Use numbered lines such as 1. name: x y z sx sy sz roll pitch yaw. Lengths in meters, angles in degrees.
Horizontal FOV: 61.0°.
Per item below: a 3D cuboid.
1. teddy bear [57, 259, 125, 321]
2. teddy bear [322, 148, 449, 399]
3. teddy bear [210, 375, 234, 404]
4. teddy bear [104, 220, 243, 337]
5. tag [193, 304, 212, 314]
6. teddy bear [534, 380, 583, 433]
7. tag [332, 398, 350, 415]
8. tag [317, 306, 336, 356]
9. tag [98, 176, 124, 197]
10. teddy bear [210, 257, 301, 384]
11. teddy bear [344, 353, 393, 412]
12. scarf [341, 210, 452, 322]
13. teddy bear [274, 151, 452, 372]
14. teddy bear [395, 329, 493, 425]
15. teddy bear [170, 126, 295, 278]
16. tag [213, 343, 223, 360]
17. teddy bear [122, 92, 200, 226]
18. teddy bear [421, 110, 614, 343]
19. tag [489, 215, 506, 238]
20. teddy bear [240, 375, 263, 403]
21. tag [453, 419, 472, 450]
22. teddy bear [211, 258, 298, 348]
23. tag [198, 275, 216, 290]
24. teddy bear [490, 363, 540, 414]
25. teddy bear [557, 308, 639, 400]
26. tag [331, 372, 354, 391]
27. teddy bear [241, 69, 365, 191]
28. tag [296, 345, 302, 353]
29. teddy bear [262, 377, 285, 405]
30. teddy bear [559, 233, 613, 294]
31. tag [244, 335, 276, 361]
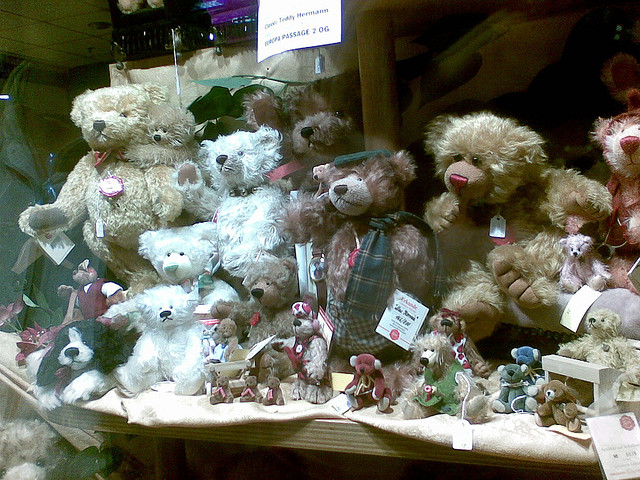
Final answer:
1. teddy bear: -0.639 0.169 1.520 0.178 0.220 0.082 -2 35 -15
2. teddy bear: 0.104 0.068 1.372 0.411 0.588 0.392 0 7 5
3. teddy bear: -0.235 0.356 1.288 0.052 0.038 0.052 -7 44 4
4. teddy bear: -0.409 0.143 1.556 0.321 0.336 0.237 -8 23 3
5. tag: -0.319 0.188 1.477 0.028 0.007 0.028 1 37 2
6. teddy bear: 0.488 0.345 1.161 0.110 0.085 0.108 -8 75 37
7. tag: 0.047 0.369 1.207 0.028 0.007 0.027 -28 49 -12
8. tag: 0.016 0.226 1.325 0.012 0.097 0.114 -28 49 39
9. tag: -0.597 -0.153 1.565 0.067 0.035 0.055 -26 46 -16
10. teddy bear: -0.174 0.200 1.418 0.240 0.310 0.217 -1 8 7
11. teddy bear: 0.112 0.316 1.228 0.108 0.125 0.083 -4 9 24
12. scarf: 0.139 0.075 1.362 0.254 0.272 0.076 3 -3 -11
13. teddy bear: 0.134 0.059 1.332 0.350 0.356 0.458 -19 45 -8
14. teddy bear: 0.278 0.310 1.226 0.232 0.138 0.201 -12 79 41
15. teddy bear: -0.237 -0.094 1.532 0.363 0.281 0.425 -7 77 22
16. tag: -0.258 0.286 1.403 0.023 0.009 0.030 18 89 44
17. teddy bear: -0.442 -0.228 1.541 0.298 0.334 0.146 -5 10 -12
18. teddy bear: 0.493 -0.061 1.350 0.453 0.555 0.392 -13 11 36
19. tag: 0.435 -0.033 1.329 0.051 0.008 0.071 4 89 26
20. teddy bear: -0.155 0.355 1.311 0.074 0.049 0.075 -1 73 3
21. tag: 0.288 0.393 1.098 0.044 0.006 0.060 -8 61 29
22. teddy bear: -0.165 0.172 1.424 0.221 0.135 0.227 4 91 34
23. tag: -0.316 0.123 1.525 0.045 0.042 0.036 -1 5 -20
24. teddy bear: 0.421 0.320 1.171 0.098 0.065 0.106 -9 81 23
25. teddy bear: 0.617 0.226 1.150 0.121 0.086 0.156 -35 49 -23
26. tag: 0.044 0.327 1.264 0.046 0.010 0.042 3 82 20
27. teddy bear: -0.038 -0.291 1.494 0.341 0.334 0.139 -7 0 24
28. tag: -0.049 0.259 1.293 0.014 0.004 0.013 2 82 39
29. teddy bear: -0.105 0.345 1.261 0.064 0.055 0.074 -3 82 5
30. teddy bear: 0.597 0.054 1.240 0.087 0.119 0.106 -20 8 -39
31. tag: -0.148 0.271 1.362 0.075 0.015 0.041 -33 9 -35
